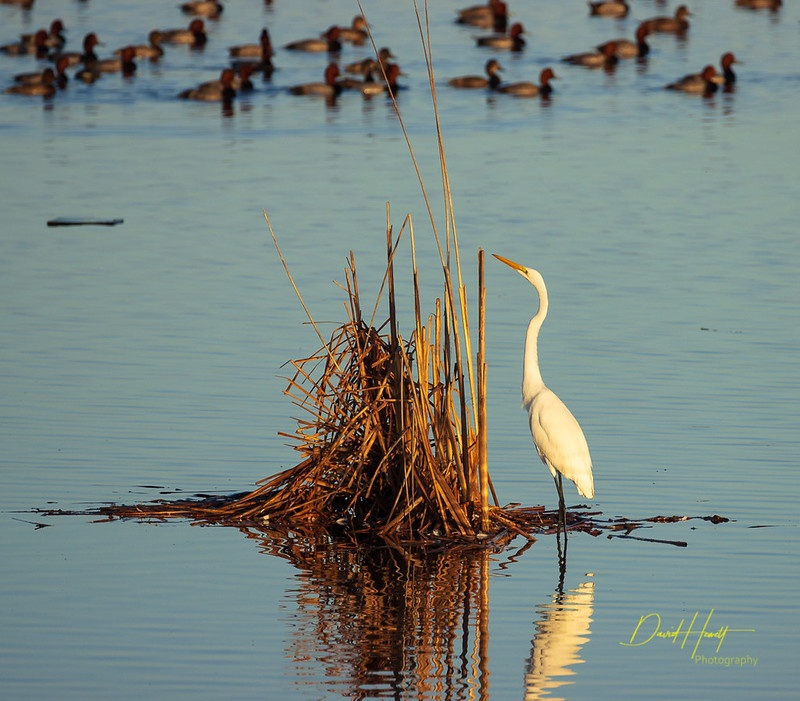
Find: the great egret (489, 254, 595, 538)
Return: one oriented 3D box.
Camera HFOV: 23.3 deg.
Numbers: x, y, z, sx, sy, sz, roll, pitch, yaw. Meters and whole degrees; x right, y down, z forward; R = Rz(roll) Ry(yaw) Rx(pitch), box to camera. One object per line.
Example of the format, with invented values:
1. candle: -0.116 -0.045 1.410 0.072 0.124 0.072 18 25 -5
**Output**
1. great egret: 1.278 0.321 16.685 0.802 2.150 1.453 1 12 3
